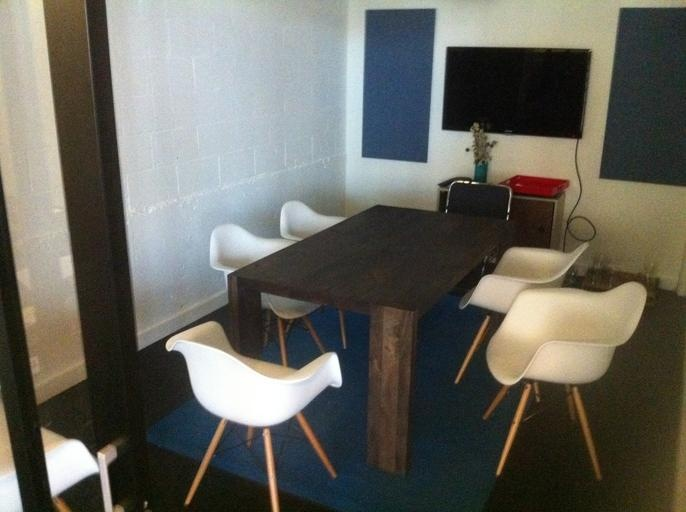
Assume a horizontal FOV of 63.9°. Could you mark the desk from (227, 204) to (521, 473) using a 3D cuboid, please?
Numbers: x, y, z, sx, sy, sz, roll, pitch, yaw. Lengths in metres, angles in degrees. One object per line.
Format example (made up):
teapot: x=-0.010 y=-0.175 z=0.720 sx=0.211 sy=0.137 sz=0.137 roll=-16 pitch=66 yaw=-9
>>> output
desk: x=0.310 y=0.338 z=3.680 sx=1.152 sy=0.875 sz=1.845 roll=11 pitch=20 yaw=31

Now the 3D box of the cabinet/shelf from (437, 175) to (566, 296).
cabinet/shelf: x=1.208 y=-0.146 z=4.144 sx=0.811 sy=0.805 sz=0.443 roll=10 pitch=22 yaw=26

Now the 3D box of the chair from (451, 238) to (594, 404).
chair: x=1.134 y=0.245 z=3.816 sx=0.879 sy=1.241 sz=0.927 roll=5 pitch=21 yaw=17

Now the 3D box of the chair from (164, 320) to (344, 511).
chair: x=-0.375 y=0.722 z=2.505 sx=0.690 sy=0.879 sz=0.424 roll=7 pitch=20 yaw=16

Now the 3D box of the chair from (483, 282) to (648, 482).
chair: x=1.123 y=0.604 z=2.840 sx=0.620 sy=0.817 sz=0.667 roll=2 pitch=10 yaw=19

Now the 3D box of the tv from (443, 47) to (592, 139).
tv: x=1.656 y=-1.610 z=5.362 sx=1.358 sy=0.796 sz=0.213 roll=13 pitch=23 yaw=30
